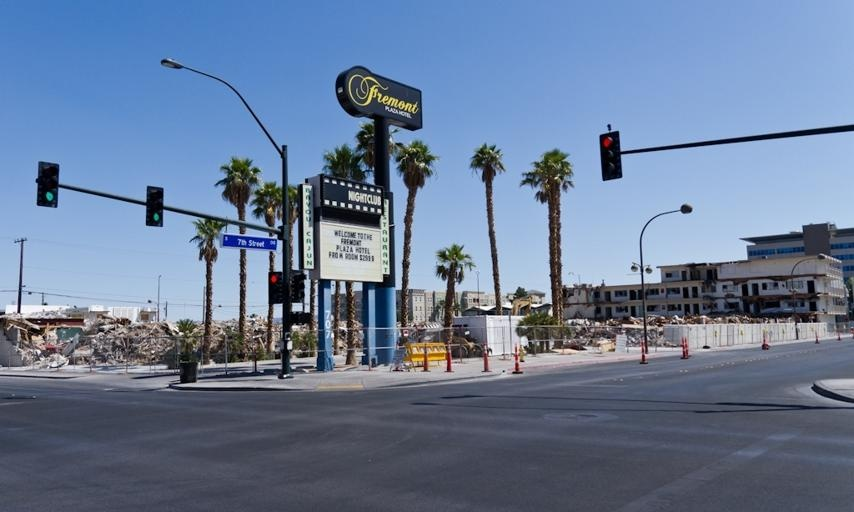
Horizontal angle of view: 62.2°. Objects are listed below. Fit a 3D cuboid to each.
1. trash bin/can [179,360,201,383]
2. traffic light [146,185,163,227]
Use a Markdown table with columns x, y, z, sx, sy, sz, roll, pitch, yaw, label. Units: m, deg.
| x | y | z | sx | sy | sz | roll | pitch | yaw | label |
| --- | --- | --- | --- | --- | --- | --- | --- | --- | --- |
| -11.835 | 5.832 | 35.231 | 0.991 | 1.033 | 1.049 | 0 | -16 | -9 | trash bin/can |
| -11.848 | -2.129 | 30.680 | 0.660 | 1.639 | 0.328 | 5 | -9 | -32 | traffic light |
